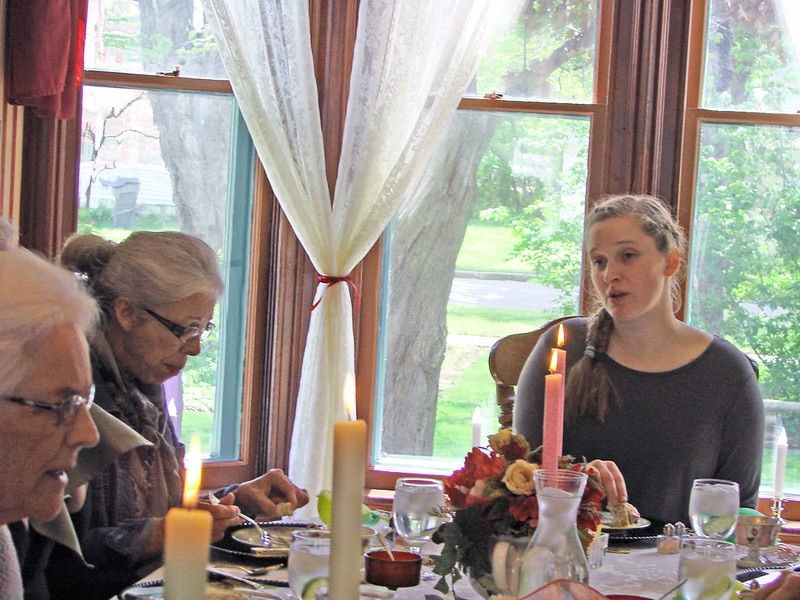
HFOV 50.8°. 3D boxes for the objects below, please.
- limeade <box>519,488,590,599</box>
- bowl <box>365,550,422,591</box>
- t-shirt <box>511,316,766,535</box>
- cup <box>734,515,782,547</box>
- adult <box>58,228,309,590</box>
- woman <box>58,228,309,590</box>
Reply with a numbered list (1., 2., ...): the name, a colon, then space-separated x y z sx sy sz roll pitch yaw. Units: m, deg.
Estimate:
1. limeade: 0.256 0.397 1.393 0.112 0.175 0.068 0 -5 5
2. bowl: -0.015 0.531 1.670 0.127 0.047 0.114 4 -6 4
3. t-shirt: 0.726 0.412 2.658 0.795 0.589 0.391 10 14 19
4. cup: 0.831 0.536 1.947 0.090 0.050 0.085 -2 -1 0
5. adult: -0.571 0.266 2.305 0.880 0.785 0.711 9 3 -27
6. woman: -0.587 0.270 2.307 0.877 0.799 0.688 9 5 -19
